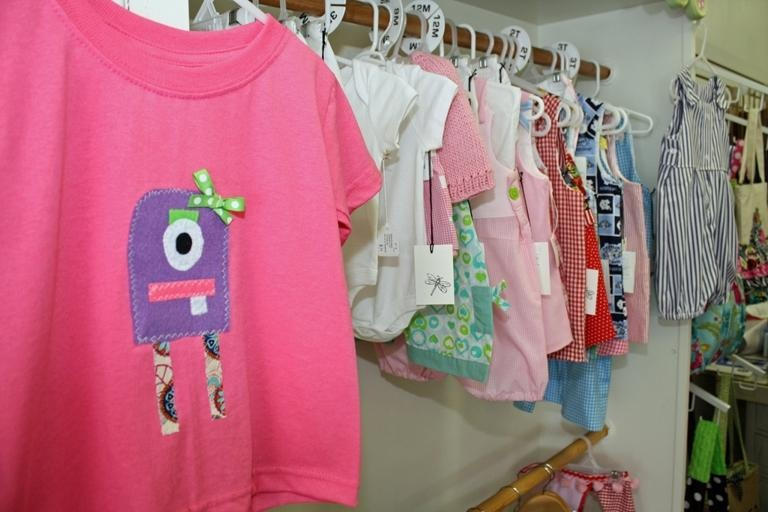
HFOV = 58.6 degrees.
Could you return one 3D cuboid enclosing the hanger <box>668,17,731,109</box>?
[{"bbox_3d":[1.092,-0.675,2.408,0.342,0.401,0.007,-4,7,-38],"label":"hanger"}]
